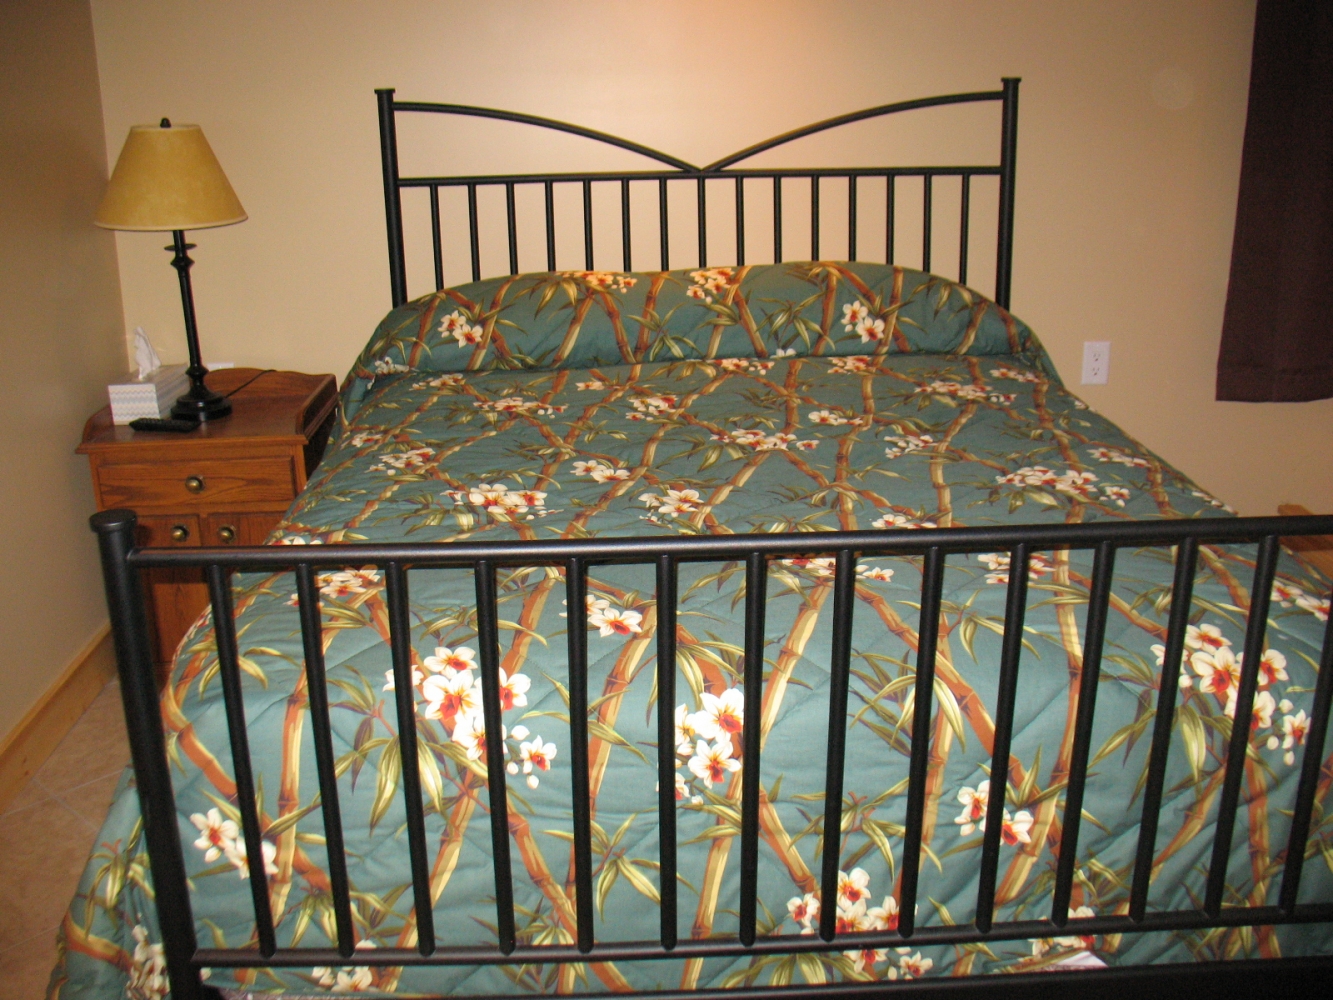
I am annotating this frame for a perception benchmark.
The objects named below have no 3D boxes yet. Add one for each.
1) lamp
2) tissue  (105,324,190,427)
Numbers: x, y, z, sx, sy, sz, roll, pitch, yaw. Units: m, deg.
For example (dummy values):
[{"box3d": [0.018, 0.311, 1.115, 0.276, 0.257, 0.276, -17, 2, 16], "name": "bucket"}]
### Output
[{"box3d": [-1.195, -0.519, 2.664, 0.442, 0.809, 0.368, 1, 26, -17], "name": "lamp"}, {"box3d": [-1.308, -0.317, 2.732, 0.214, 0.252, 0.224, -1, 20, -7], "name": "tissue "}]
